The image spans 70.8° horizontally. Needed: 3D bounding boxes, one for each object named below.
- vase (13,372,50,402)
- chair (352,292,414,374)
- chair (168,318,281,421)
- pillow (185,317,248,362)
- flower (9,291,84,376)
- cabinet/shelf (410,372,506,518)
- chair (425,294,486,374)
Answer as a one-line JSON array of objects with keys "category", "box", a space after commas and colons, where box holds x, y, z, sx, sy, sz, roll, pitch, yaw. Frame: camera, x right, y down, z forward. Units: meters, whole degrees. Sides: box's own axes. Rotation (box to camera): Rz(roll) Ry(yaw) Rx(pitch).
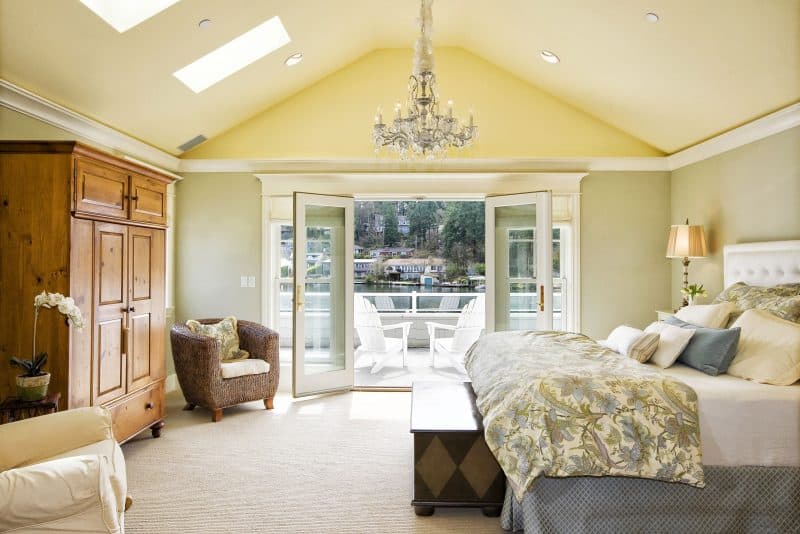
[{"category": "vase", "box": [-2.981, 0.970, 4.569, 0.229, 0.161, 0.224, 0, -9, -5]}, {"category": "chair", "box": [-0.340, 1.015, 8.460, 0.875, 1.109, 1.154, 0, -4, 36]}, {"category": "chair", "box": [-2.037, 1.125, 6.617, 1.065, 1.021, 1.270, -5, -6, 37]}, {"category": "pillow", "box": [-2.074, 0.806, 6.551, 0.168, 0.546, 0.525, -36, -19, 32]}, {"category": "flower", "box": [-2.954, 0.556, 4.710, 0.579, 0.667, 0.333, -11, 16, -29]}, {"category": "cabinet/shelf", "box": [0.478, 1.528, 4.896, 0.753, 0.603, 1.353, 0, -1, -1]}, {"category": "chair", "box": [1.058, 1.009, 8.389, 0.926, 1.155, 1.099, 2, -3, -32]}]
